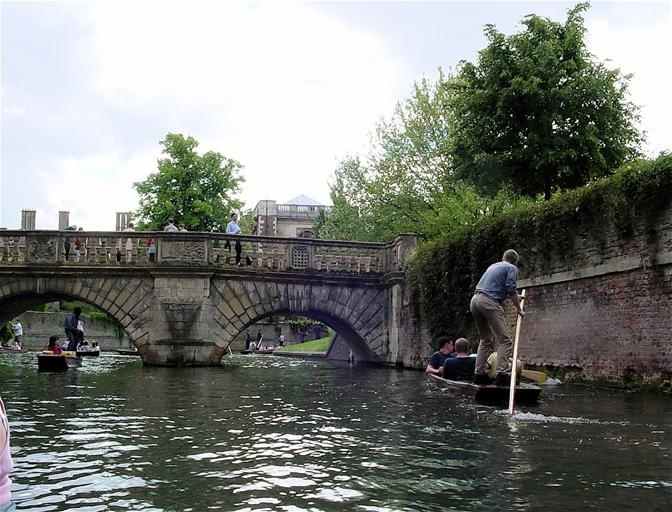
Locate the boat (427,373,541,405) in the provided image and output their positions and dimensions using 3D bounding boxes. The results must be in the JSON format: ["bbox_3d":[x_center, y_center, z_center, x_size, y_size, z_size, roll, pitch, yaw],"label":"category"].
[{"bbox_3d":[2.335,2.253,13.051,0.618,0.257,1.907,2,-2,-18],"label":"boat"}]

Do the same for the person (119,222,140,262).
[{"bbox_3d":[-6.808,-0.477,24.524,0.454,1.483,3.020,0,-3,-16],"label":"person"}]

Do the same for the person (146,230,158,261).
[{"bbox_3d":[-5.768,-0.205,23.578,0.285,0.809,1.262,0,-3,-15],"label":"person"}]

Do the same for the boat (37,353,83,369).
[{"bbox_3d":[-7.284,2.788,20.159,0.540,0.288,1.551,0,-7,5],"label":"boat"}]

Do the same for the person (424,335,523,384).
[{"bbox_3d":[2.422,1.906,13.845,0.739,0.542,1.551,3,-15,-12],"label":"person"}]

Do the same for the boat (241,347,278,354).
[{"bbox_3d":[-4.984,6.196,49.385,1.991,0.254,6.483,0,-3,-4],"label":"boat"}]

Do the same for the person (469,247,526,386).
[{"bbox_3d":[2.711,1.011,12.727,0.816,2.281,1.237,-1,-2,10],"label":"person"}]

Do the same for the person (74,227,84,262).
[{"bbox_3d":[-8.008,-0.314,23.370,0.204,1.019,0.408,1,-3,-23],"label":"person"}]
